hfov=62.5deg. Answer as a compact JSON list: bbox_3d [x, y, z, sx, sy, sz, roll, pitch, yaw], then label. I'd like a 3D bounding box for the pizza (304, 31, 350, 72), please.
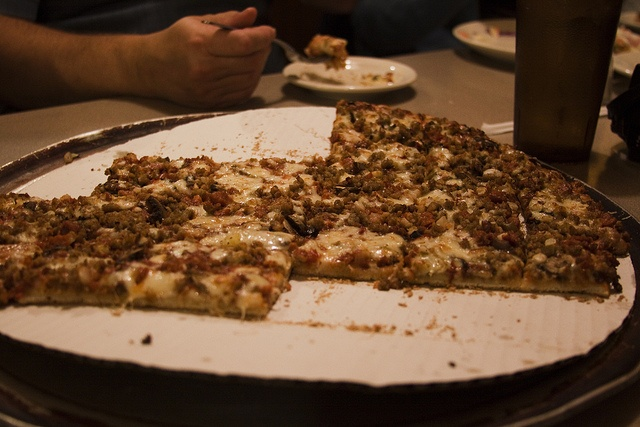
[{"bbox_3d":[0.042,-0.962,3.155,0.243,0.087,0.225,23,53,14],"label":"pizza"}]
